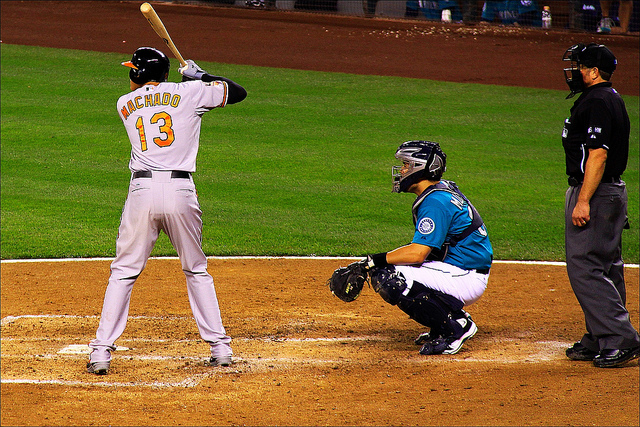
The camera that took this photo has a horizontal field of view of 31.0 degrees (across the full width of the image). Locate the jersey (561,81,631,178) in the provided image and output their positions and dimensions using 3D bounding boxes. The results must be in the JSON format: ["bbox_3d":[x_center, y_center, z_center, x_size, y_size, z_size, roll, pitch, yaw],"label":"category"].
[{"bbox_3d":[3.400,-1.029,14.303,0.833,1.152,0.929,-1,-1,8],"label":"jersey"}]

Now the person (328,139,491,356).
[{"bbox_3d":[1.268,0.437,14.286,1.504,2.560,0.833,9,18,21],"label":"person"}]

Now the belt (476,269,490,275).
[{"bbox_3d":[2.018,0.724,14.321,0.111,0.071,0.022,6,3,0],"label":"belt"}]
